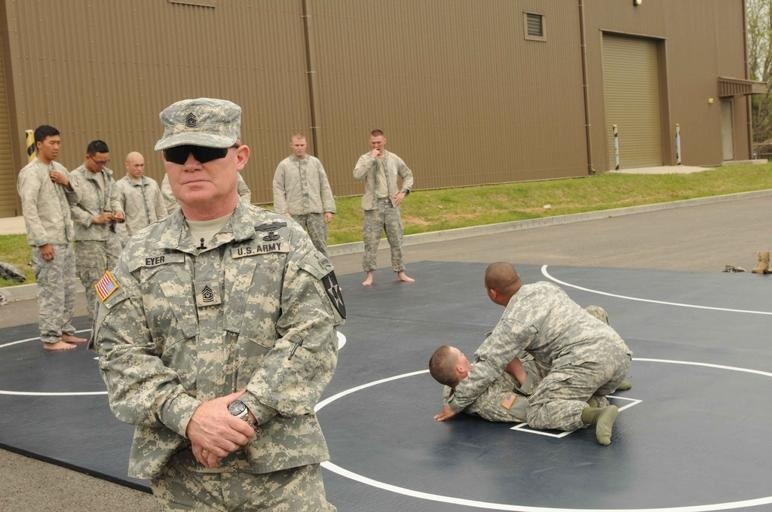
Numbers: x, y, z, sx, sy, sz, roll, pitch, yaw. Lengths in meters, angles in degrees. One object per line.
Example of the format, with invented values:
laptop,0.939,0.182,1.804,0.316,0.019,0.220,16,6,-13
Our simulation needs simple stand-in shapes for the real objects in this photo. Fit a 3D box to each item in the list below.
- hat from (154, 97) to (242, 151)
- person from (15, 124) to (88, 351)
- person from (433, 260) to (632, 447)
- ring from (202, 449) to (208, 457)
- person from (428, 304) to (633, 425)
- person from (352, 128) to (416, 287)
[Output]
hat,-1.112,-0.771,4.322,0.494,0.322,0.660,-2,5,12
person,-4.506,-0.239,9.768,0.684,2.975,0.512,-10,11,-39
person,1.299,0.967,6.603,1.496,0.964,1.816,11,19,43
ring,-1.002,1.074,3.946,0.037,0.040,0.009,0,9,25
person,1.440,1.179,6.900,1.895,0.757,1.374,-7,2,19
person,-0.027,-0.950,13.510,1.064,2.820,1.375,-4,8,0
